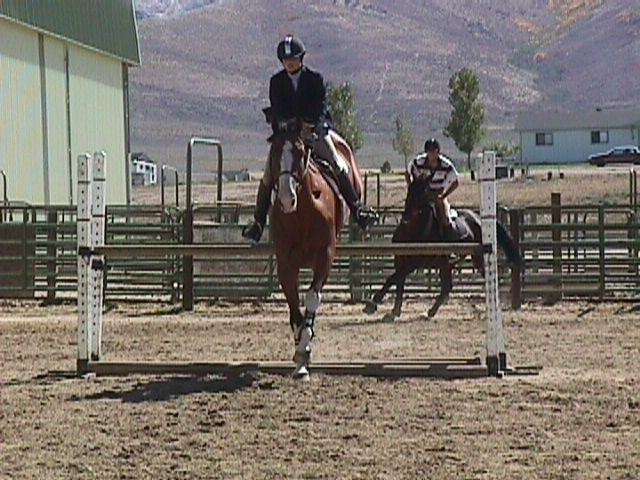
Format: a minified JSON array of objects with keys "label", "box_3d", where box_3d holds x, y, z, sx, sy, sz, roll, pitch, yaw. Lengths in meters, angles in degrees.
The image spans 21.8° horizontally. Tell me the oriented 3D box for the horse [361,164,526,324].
[{"label":"horse","box_3d":[6.528,0.344,94.229,3.522,13.947,5.260,0,1,10]}]
